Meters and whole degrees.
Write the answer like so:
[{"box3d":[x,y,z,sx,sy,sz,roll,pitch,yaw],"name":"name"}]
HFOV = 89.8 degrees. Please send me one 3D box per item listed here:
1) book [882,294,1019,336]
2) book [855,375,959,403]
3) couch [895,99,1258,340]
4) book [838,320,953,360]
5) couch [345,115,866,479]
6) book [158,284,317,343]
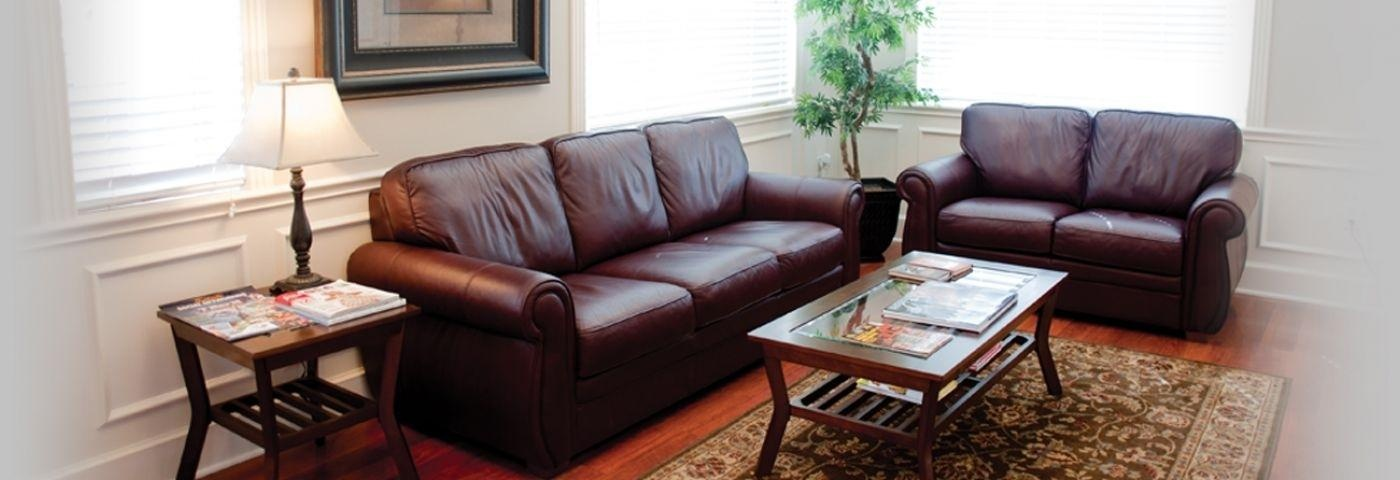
[{"box3d":[1.958,0.567,5.583,0.561,0.050,0.466,-9,15,-32],"name":"book"},{"box3d":[1.595,1.142,5.450,0.417,0.068,0.411,6,10,40],"name":"book"},{"box3d":[3.938,-0.395,7.286,3.078,1.389,1.660,11,43,40],"name":"couch"},{"box3d":[1.512,0.734,5.492,0.735,0.055,0.526,14,30,38],"name":"book"},{"box3d":[-0.938,0.582,5.862,1.726,1.287,3.797,11,16,43],"name":"couch"},{"box3d":[-3.490,0.560,5.224,0.644,0.048,0.564,16,20,35],"name":"book"}]
